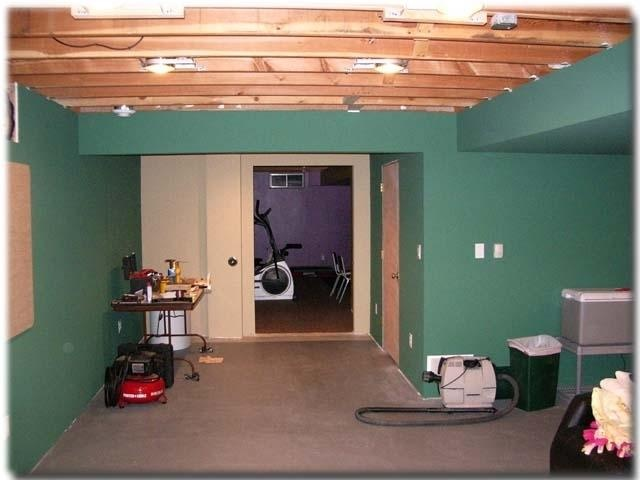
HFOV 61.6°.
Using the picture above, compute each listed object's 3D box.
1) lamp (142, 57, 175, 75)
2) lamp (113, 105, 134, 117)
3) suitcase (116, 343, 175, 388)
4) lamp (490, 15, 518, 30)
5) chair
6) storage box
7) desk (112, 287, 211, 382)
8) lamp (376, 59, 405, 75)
[{"bbox_3d":[-1.096,-1.182,3.631,0.203,0.069,0.166,-3,8,-18],"label":"lamp"},{"bbox_3d":[-1.800,-1.178,4.932,0.109,0.052,0.108,-1,1,-6],"label":"lamp"},{"bbox_3d":[-1.752,1.312,5.394,0.533,0.484,0.442,-3,8,-19],"label":"suitcase"},{"bbox_3d":[1.083,-1.272,3.163,0.130,0.072,0.110,6,12,0],"label":"lamp"},{"bbox_3d":[1.820,1.411,3.676,0.390,0.511,0.680,1,8,11],"label":"chair"},{"bbox_3d":[2.604,0.719,5.000,0.758,0.506,0.402,0,3,2],"label":"storage box"},{"bbox_3d":[-1.711,0.991,5.996,0.780,0.605,1.262,-11,-4,-11],"label":"desk"},{"bbox_3d":[0.493,-1.206,3.734,0.202,0.055,0.231,1,8,7],"label":"lamp"}]
